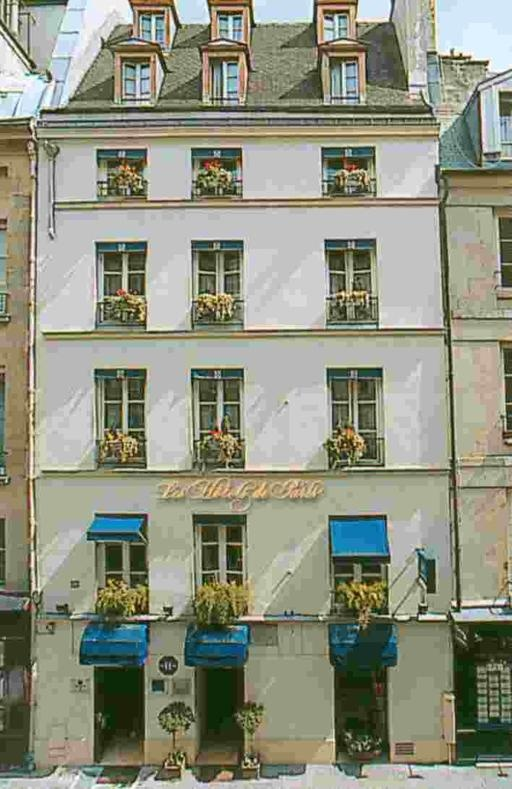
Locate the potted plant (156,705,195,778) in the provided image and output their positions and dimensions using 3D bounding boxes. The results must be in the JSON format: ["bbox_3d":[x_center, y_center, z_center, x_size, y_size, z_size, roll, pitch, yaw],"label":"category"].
[{"bbox_3d":[-1.864,8.506,43.846,1.107,1.184,2.159,0,74,-4],"label":"potted plant"}]

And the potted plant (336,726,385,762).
[{"bbox_3d":[2.572,8.590,44.121,1.013,0.350,0.876,2,51,-2],"label":"potted plant"}]

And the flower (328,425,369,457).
[{"bbox_3d":[2.203,1.047,44.163,0.691,0.761,0.864,5,86,-8],"label":"flower"}]

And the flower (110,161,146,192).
[{"bbox_3d":[-3.115,-5.415,45.168,0.958,0.660,0.624,5,48,2],"label":"flower"}]
